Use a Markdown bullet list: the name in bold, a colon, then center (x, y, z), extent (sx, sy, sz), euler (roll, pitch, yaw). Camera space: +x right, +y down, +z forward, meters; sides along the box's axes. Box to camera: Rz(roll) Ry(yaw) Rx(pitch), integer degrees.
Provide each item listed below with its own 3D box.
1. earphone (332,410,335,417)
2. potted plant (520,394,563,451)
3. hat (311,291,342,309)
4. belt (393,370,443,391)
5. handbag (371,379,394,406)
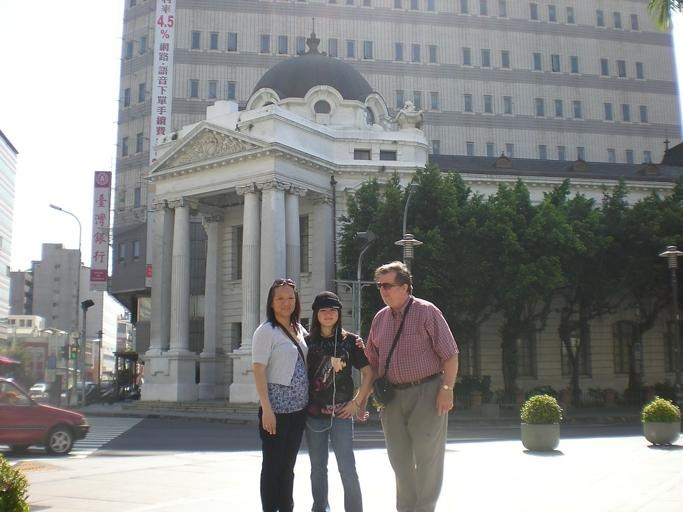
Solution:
- **earphone**: center (-0.120, 2.340, 11.597), extent (0.030, 0.106, 0.026), euler (1, -13, 22)
- **potted plant**: center (4.839, 4.098, 19.208), extent (1.242, 1.609, 1.204), euler (3, -13, -8)
- **hat**: center (-0.259, 0.669, 11.721), extent (0.337, 0.181, 0.263), euler (-10, -13, 30)
- **belt**: center (1.128, 1.814, 11.308), extent (0.718, 0.199, 0.083), euler (-9, 2, 3)
- **handbag**: center (0.628, 1.980, 11.409), extent (0.198, 0.336, 0.358), euler (-1, -7, -34)
